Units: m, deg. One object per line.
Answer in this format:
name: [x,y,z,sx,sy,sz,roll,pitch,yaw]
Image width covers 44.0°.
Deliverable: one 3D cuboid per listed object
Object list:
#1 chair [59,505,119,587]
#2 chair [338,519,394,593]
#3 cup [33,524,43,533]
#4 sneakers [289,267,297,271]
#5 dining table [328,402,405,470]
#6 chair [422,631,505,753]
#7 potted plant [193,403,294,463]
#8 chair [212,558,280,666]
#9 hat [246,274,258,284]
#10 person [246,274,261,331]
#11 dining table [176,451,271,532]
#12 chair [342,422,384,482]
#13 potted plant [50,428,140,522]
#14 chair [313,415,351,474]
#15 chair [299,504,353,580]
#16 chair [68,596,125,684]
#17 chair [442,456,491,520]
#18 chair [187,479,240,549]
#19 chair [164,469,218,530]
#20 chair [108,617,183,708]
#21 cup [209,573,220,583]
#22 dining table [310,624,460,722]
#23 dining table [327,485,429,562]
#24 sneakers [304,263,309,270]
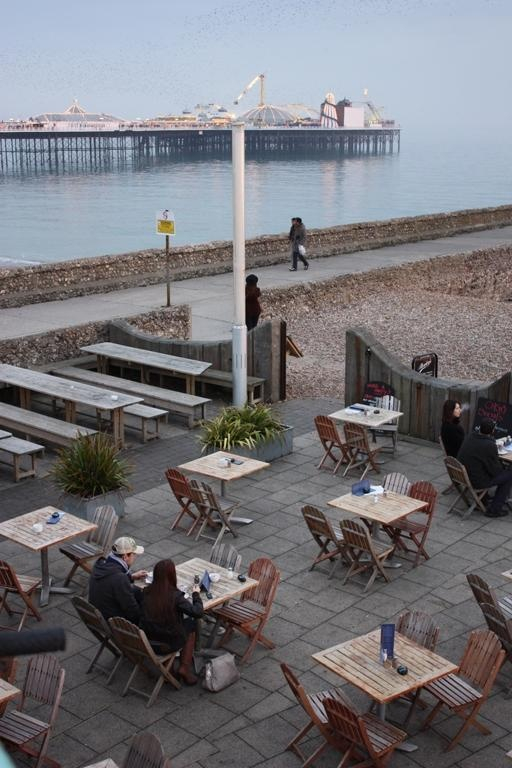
chair: [-1.909,1.835,7.063,0.592,0.831,0.425,4,2,-43]
chair: [1.239,1.837,6.984,0.457,0.757,0.570,5,7,35]
cup: [-2.294,1.504,6.603,0.071,0.068,0.094,0,5,-7]
sneakers: [1.416,-4.248,23.578,0.124,0.135,0.341,0,4,11]
dining table: [1.732,0.996,10.207,1.043,0.985,1.054,9,16,38]
chair: [1.602,2.384,4.832,0.598,0.907,0.484,-10,24,-23]
potted plant: [-0.136,0.794,10.223,1.047,0.669,1.062,8,11,40]
chair: [-0.087,2.107,5.914,0.455,0.783,0.566,3,3,34]
hat: [-0.089,-2.412,14.684,0.231,0.253,0.631,-1,14,-5]
person: [-0.075,-1.908,14.858,0.310,1.305,0.588,0,14,-3]
dining table: [-0.399,1.451,8.737,0.996,0.762,1.012,11,13,15]
chair: [1.670,0.992,9.789,0.610,0.840,0.441,-7,13,-38]
potted plant: [-2.152,1.358,8.549,1.053,1.232,0.996,3,-3,-21]
chair: [1.276,0.893,9.943,0.641,0.878,0.441,-8,12,-36]
chair: [0.864,1.739,7.242,0.526,0.788,0.609,2,5,36]
chair: [-1.317,2.226,5.535,0.306,0.543,0.407,7,-9,21]
chair: [2.903,1.379,8.561,0.588,0.795,0.468,-2,9,-9]
chair: [-0.523,1.589,8.103,0.658,0.870,0.483,-9,13,-42]
chair: [-0.859,1.544,8.317,0.707,0.937,0.531,-14,19,-43]
chair: [-0.904,2.254,5.287,0.393,0.705,0.504,0,1,35]
cup: [-0.386,1.794,5.873,0.078,0.058,0.079,5,3,0]
dining table: [0.969,2.059,4.693,0.726,0.464,0.721,-14,20,-41]
dining table: [1.461,1.430,7.352,0.837,0.632,0.816,14,22,40]
sneakers: [1.931,-4.404,23.738,0.108,0.138,0.328,-1,29,14]
